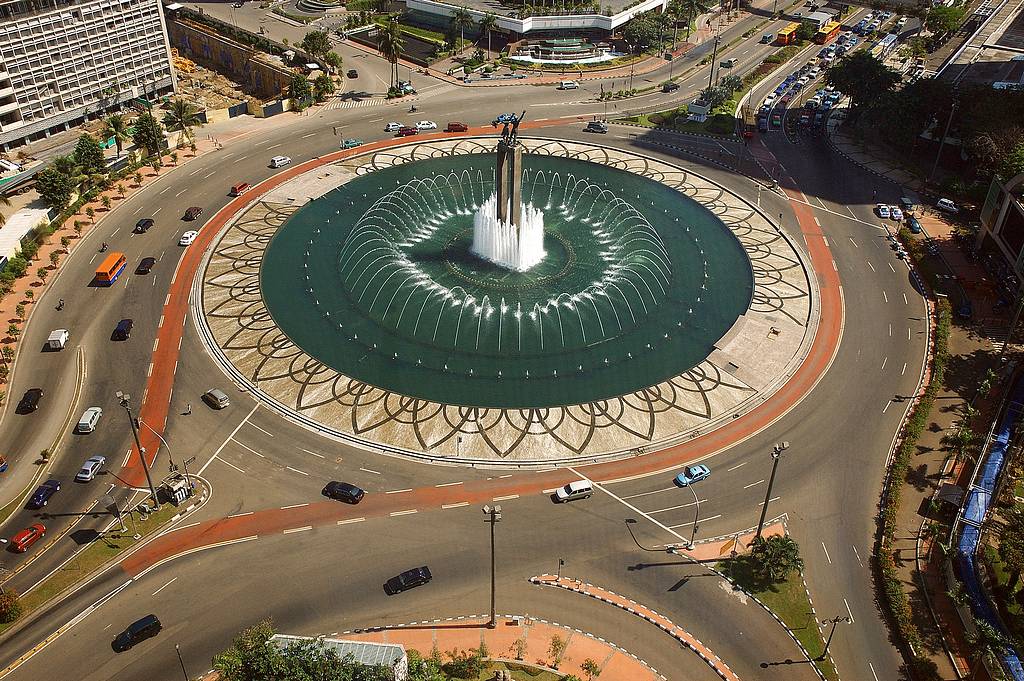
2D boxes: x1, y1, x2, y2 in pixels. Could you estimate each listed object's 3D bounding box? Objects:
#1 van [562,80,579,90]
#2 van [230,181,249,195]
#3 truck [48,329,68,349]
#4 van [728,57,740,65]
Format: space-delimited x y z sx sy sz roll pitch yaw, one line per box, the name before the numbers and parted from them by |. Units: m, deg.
van | 18.794 -83.459 279.045 6.204 2.553 4.066 -6 16 -6
van | -72.966 -40.404 227.410 2.879 3.097 4.963 9 20 40
truck | -98.534 -0.253 184.868 2.919 2.850 5.035 2 42 -20
van | 76.562 -96.774 294.054 2.290 1.802 5.398 6 19 33
